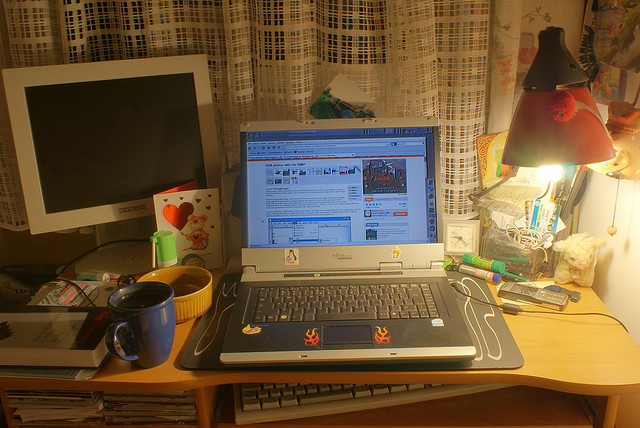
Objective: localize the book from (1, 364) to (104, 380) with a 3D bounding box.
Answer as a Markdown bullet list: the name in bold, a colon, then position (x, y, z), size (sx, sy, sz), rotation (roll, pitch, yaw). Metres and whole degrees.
- **book**: position (-0.670, 0.387, 1.210), size (0.124, 0.011, 0.080), rotation (2, -4, -2)

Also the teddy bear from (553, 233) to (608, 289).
- **teddy bear**: position (0.763, 0.135, 1.453), size (0.146, 0.151, 0.116), rotation (-5, 24, -2)

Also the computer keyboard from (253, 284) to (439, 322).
- **computer keyboard**: position (0.080, 0.242, 1.342), size (0.542, 0.033, 0.165), rotation (0, 35, -2)

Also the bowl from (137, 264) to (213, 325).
- **bowl**: position (-0.377, 0.207, 1.387), size (0.172, 0.066, 0.175), rotation (0, 17, 0)

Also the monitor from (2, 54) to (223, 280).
- **monitor**: position (-0.655, -0.202, 1.476), size (0.656, 0.694, 0.203), rotation (-10, 29, -21)

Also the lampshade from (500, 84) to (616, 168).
- **lampshade**: position (0.625, -0.231, 1.277), size (0.263, 0.205, 0.099), rotation (4, 15, 25)

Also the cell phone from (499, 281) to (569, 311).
- **cell phone**: position (0.611, 0.233, 1.390), size (0.154, 0.030, 0.071), rotation (13, 39, 29)

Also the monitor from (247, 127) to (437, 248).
- **monitor**: position (0.072, -0.116, 1.449), size (0.630, 0.336, 0.380), rotation (1, 24, 4)
